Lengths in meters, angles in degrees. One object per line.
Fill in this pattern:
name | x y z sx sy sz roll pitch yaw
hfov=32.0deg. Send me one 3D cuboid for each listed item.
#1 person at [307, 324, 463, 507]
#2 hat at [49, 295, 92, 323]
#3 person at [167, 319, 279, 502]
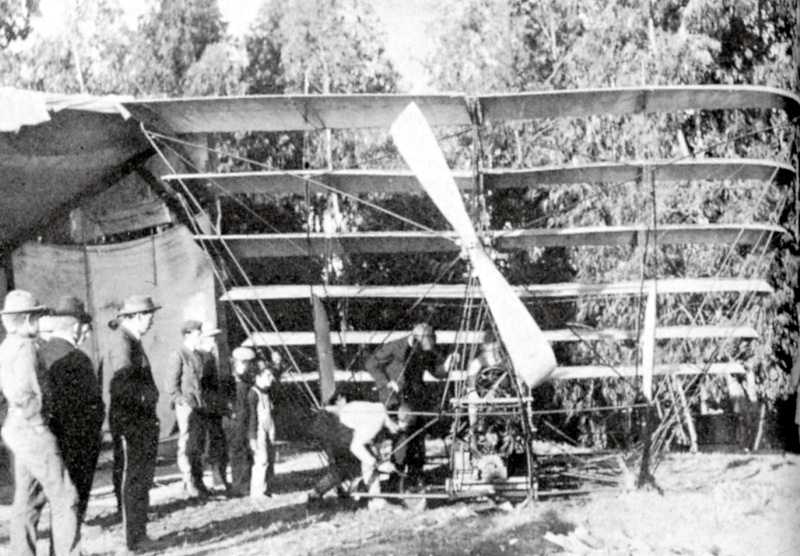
person | -0.177 1.416 13.895 1.401 1.791 0.490 -6 -8 3
hat | -3.313 0.312 14.176 0.275 0.295 0.080 16 -47 -20
person | -2.033 1.314 14.096 0.550 1.788 0.208 -3 -8 -12
